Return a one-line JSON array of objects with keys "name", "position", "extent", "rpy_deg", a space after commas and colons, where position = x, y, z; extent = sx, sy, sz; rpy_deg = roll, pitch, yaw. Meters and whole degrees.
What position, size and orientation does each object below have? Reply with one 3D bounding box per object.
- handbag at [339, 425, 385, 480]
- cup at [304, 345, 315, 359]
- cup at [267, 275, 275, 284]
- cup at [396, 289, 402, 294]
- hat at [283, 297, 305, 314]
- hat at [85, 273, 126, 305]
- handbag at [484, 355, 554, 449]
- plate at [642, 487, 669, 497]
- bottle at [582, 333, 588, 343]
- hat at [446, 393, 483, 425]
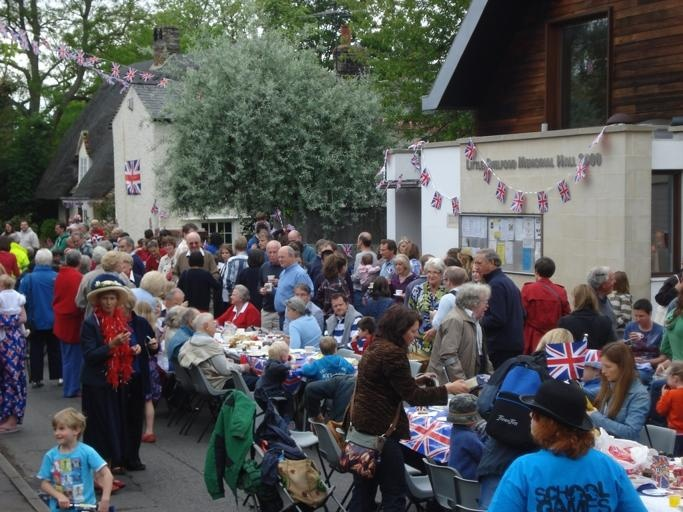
[{"name": "handbag", "position": [0.284, 2.591, 15.140], "extent": [0.674, 0.773, 0.257], "rpy_deg": [13, -4, 18]}, {"name": "cup", "position": [-0.525, 1.546, 18.524], "extent": [0.150, 0.119, 0.136], "rpy_deg": [-1, -1, 15]}, {"name": "cup", "position": [-1.286, 0.425, 20.860], "extent": [0.133, 0.099, 0.135], "rpy_deg": [-1, -6, 0]}, {"name": "cup", "position": [1.001, 0.634, 20.346], "extent": [0.068, 0.051, 0.068], "rpy_deg": [2, -2, 0]}, {"name": "hat", "position": [-0.794, 0.799, 18.808], "extent": [0.299, 0.157, 0.212], "rpy_deg": [39, 31, 29]}, {"name": "hat", "position": [-3.517, 0.488, 17.147], "extent": [0.563, 0.407, 1.039], "rpy_deg": [1, 1, -10]}, {"name": "handbag", "position": [2.254, 1.936, 14.675], "extent": [0.823, 1.167, 0.857], "rpy_deg": [11, -15, 26]}, {"name": "plate", "position": [4.047, 3.021, 14.783], "extent": [0.366, 0.113, 0.239], "rpy_deg": [0, 1, -17]}, {"name": "bottle", "position": [3.581, 1.206, 16.805], "extent": [0.058, 0.196, 0.052], "rpy_deg": [-10, 35, 4]}, {"name": "hat", "position": [1.632, 2.038, 15.284], "extent": [0.402, 0.241, 0.362], "rpy_deg": [-3, 8, -17]}]
